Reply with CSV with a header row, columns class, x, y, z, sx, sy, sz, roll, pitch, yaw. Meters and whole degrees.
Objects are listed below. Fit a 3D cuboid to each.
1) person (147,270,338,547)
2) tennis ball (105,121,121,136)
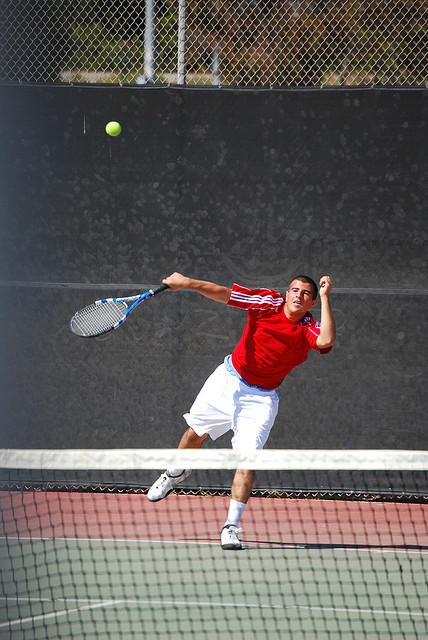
class,x,y,z,sx,sy,sz,roll,pitch,yaw
person,0.147,0.450,4.153,1.016,0.737,1.451,25,99,-4
tennis ball,-0.614,-1.167,4.412,0.093,0.055,0.079,-8,78,-1
